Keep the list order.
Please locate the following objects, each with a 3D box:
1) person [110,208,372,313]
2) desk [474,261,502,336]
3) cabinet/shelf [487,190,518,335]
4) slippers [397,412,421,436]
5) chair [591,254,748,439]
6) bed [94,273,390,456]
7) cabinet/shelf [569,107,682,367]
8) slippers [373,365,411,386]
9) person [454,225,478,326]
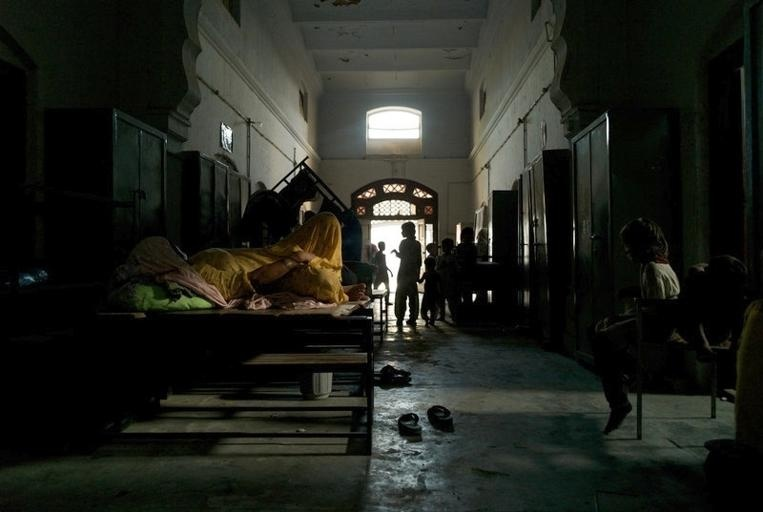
[{"bbox_3d":[-1.290,0.057,5.419,1.582,0.536,1.017,0,-3,-15],"label":"person"},{"bbox_3d":[1.750,0.626,10.042,0.440,1.064,0.842,1,10,8],"label":"desk"},{"bbox_3d":[2.360,0.094,11.066,0.427,2.707,1.221,2,12,22],"label":"cabinet/shelf"},{"bbox_3d":[0.217,1.356,4.935,0.199,0.091,0.292,0,10,2],"label":"slippers"},{"bbox_3d":[2.482,0.694,5.033,0.857,1.066,0.969,12,0,12],"label":"chair"},{"bbox_3d":[-1.131,0.898,5.101,2.101,1.027,1.292,0,10,2],"label":"bed"},{"bbox_3d":[2.695,-0.148,6.900,0.779,2.613,1.598,-1,-1,9],"label":"cabinet/shelf"},{"bbox_3d":[0.091,1.212,6.195,0.397,0.187,0.502,4,-6,-2],"label":"slippers"},{"bbox_3d":[1.395,0.436,10.159,0.397,1.337,0.333,4,11,22],"label":"person"}]
